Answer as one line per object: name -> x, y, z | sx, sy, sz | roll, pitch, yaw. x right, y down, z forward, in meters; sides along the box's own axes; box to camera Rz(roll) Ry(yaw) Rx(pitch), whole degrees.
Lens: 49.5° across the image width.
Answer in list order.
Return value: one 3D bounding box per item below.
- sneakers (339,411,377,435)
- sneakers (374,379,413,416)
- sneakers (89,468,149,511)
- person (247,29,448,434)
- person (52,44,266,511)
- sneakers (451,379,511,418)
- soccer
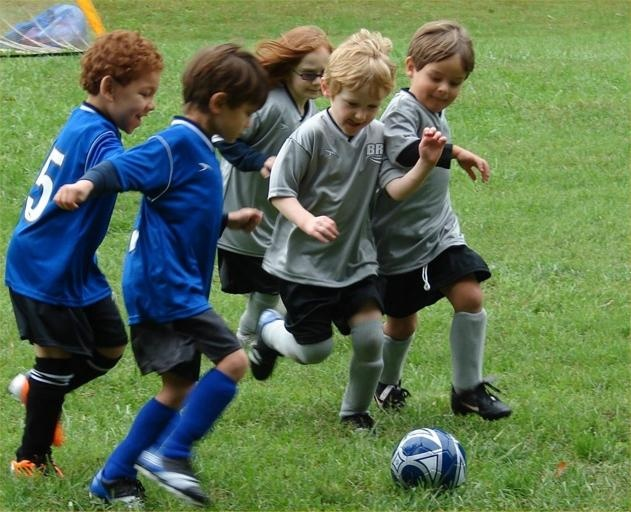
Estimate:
sneakers -> 0.236, 0.891, 3.639 | 0.191, 0.074, 0.085 | 19, -4, 16
sneakers -> 0.448, 0.825, 3.976 | 0.102, 0.099, 0.209 | 15, 41, -49
sneakers -> -0.840, 1.016, 2.962 | 0.321, 0.119, 0.105 | 6, 1, 0
person -> 0.056, -0.105, 3.551 | 0.679, 2.050, 0.817 | -6, 21, -29
person -> -0.560, 0.083, 2.954 | 0.700, 1.908, 0.820 | 11, 19, 16
sneakers -> 0.919, 0.802, 3.801 | 0.151, 0.183, 0.416 | -17, 10, -41
soccer -> 0.584, 0.974, 3.190 | 0.365, 0.313, 0.341 | -6, -26, 11
